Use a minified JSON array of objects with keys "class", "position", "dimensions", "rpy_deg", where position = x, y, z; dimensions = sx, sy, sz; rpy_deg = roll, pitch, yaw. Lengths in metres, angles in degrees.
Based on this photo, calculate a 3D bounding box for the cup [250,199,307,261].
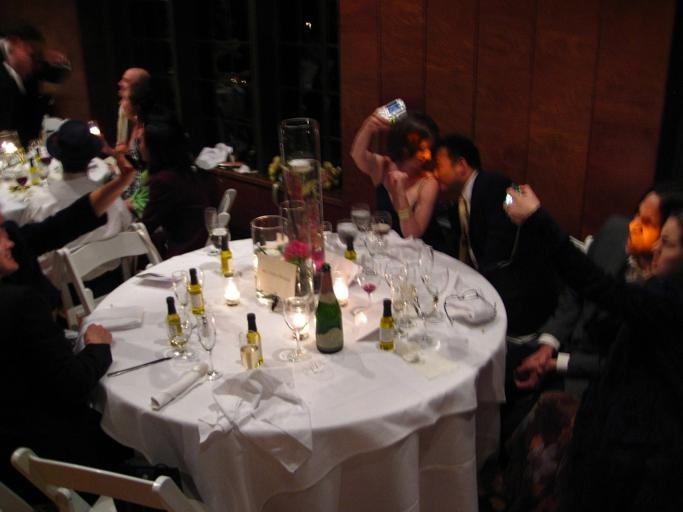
[{"class":"cup","position":[-0.263,-0.089,2.293],"dimensions":[0.247,0.316,0.276],"rpy_deg":[-1,22,-3]}]

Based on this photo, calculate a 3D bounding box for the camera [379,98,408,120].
[{"class":"camera","position":[0.329,-0.922,3.223],"dimensions":[0.098,0.143,0.271],"rpy_deg":[-10,26,-18]}]

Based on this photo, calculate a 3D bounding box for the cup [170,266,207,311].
[{"class":"cup","position":[-0.702,0.159,2.318],"dimensions":[0.126,0.234,0.145],"rpy_deg":[-5,12,-2]}]

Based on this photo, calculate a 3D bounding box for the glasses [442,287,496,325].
[{"class":"glasses","position":[0.567,0.228,2.220],"dimensions":[0.166,0.080,0.146],"rpy_deg":[15,27,29]}]

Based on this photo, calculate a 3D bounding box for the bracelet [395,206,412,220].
[{"class":"bracelet","position":[0.405,-0.270,3.234],"dimensions":[0.067,0.052,0.068],"rpy_deg":[-18,26,-28]}]

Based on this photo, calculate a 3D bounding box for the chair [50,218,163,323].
[{"class":"chair","position":[-1.397,0.094,2.936],"dimensions":[0.399,0.543,0.364],"rpy_deg":[44,50,17]}]

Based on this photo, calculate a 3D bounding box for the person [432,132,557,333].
[{"class":"person","position":[0.809,-0.117,2.587],"dimensions":[0.308,0.378,0.977],"rpy_deg":[-21,38,-8]}]

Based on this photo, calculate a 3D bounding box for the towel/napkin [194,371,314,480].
[{"class":"towel/napkin","position":[-0.282,0.543,1.736],"dimensions":[0.342,0.127,0.336],"rpy_deg":[12,50,2]}]
